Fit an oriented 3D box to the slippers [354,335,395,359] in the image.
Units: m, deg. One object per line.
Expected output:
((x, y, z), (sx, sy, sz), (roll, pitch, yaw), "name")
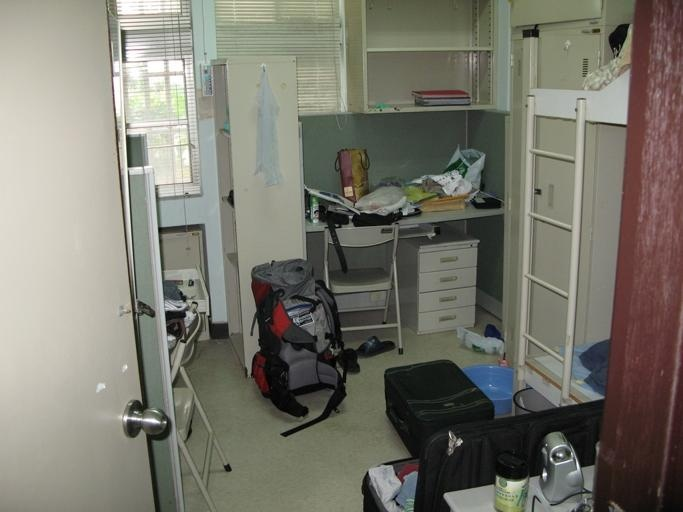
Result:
((0.240, 0.675, 4.246), (0.270, 0.116, 0.133), (-7, 10, -31), "slippers")

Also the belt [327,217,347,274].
((-0.023, -0.066, 4.044), (0.176, 0.349, 0.086), (-14, 3, 31), "belt")

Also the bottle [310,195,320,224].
((-0.211, -0.358, 4.323), (0.074, 0.184, 0.187), (-7, 13, -3), "bottle")

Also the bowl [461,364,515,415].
((0.996, 0.847, 3.557), (0.258, 0.094, 0.271), (1, 20, 0), "bowl")

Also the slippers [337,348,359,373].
((0.039, 0.730, 3.843), (0.095, 0.174, 0.170), (-18, 38, -2), "slippers")

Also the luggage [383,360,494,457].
((0.525, 0.767, 2.985), (0.415, 0.264, 0.513), (-5, 16, -14), "luggage")
